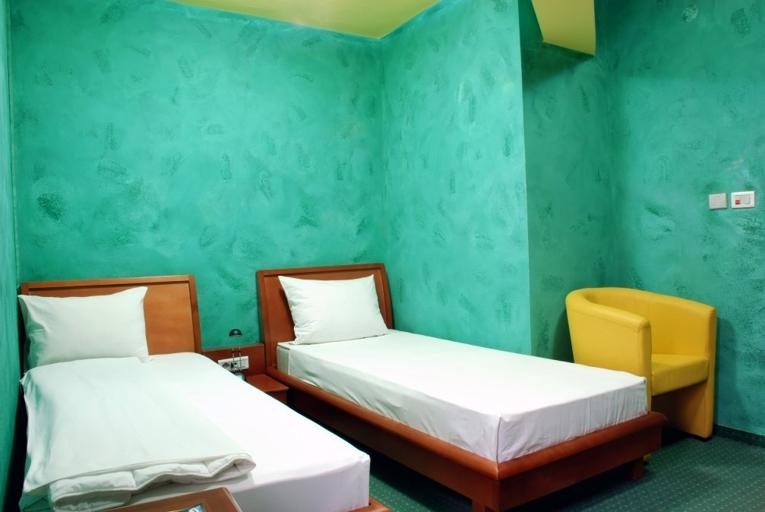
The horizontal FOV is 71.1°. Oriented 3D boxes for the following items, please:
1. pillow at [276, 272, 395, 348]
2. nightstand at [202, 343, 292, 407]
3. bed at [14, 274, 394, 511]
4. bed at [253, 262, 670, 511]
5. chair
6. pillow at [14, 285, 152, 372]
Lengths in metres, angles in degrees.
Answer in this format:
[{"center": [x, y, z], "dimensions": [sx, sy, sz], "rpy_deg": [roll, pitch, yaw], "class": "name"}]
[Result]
[{"center": [-0.398, 0.465, 4.653], "dimensions": [0.962, 0.576, 0.368], "rpy_deg": [1, -3, -38], "class": "pillow"}, {"center": [-1.107, 0.963, 4.193], "dimensions": [0.531, 0.493, 0.687], "rpy_deg": [0, 1, -25], "class": "nightstand"}, {"center": [-1.117, 0.809, 3.238], "dimensions": [1.415, 0.813, 0.456], "rpy_deg": [1, -4, -38], "class": "bed"}, {"center": [0.255, 0.698, 3.857], "dimensions": [1.504, 1.239, 2.737], "rpy_deg": [-3, 1, -34], "class": "bed"}, {"center": [1.886, 0.806, 3.997], "dimensions": [0.939, 0.988, 0.938], "rpy_deg": [-5, 6, -43], "class": "chair"}, {"center": [-2.071, 0.509, 3.646], "dimensions": [0.570, 0.373, 0.172], "rpy_deg": [4, -26, -30], "class": "pillow"}]
